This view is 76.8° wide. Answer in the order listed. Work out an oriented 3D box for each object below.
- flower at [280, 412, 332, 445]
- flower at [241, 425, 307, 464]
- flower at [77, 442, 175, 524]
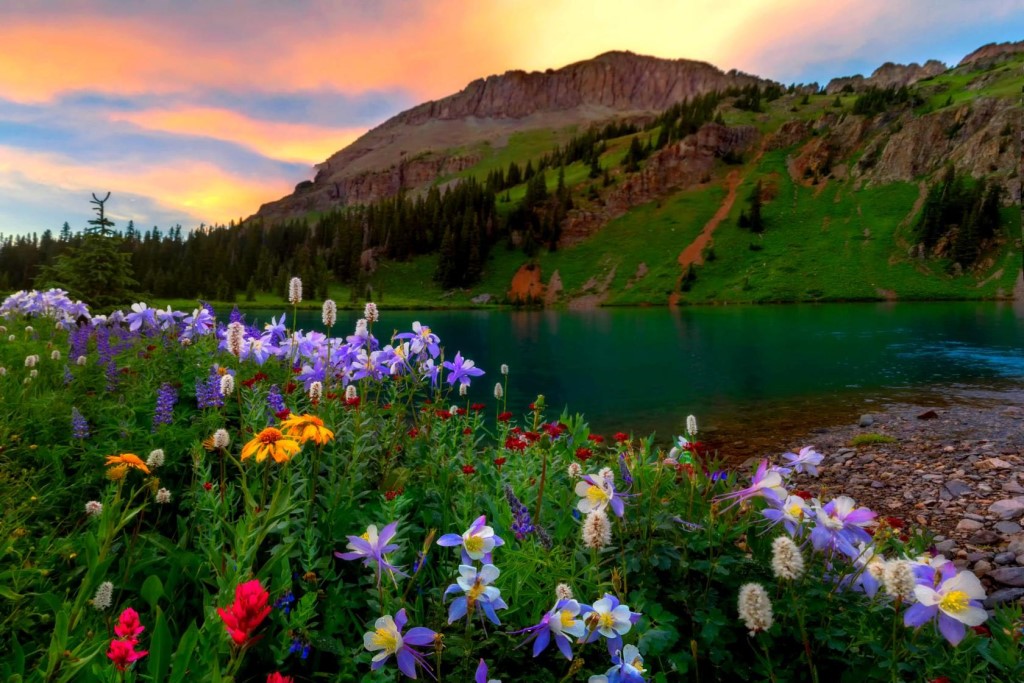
[{"bbox_3d":[-1.819,0.828,5.753,0.344,0.150,0.341,12,17,-48],"label":"flower"},{"bbox_3d":[-2.038,0.873,5.582,0.405,0.197,0.411,3,8,-7],"label":"flower"},{"bbox_3d":[-3.480,1.238,5.870,0.658,0.409,0.921,20,-7,-29],"label":"flower"}]
